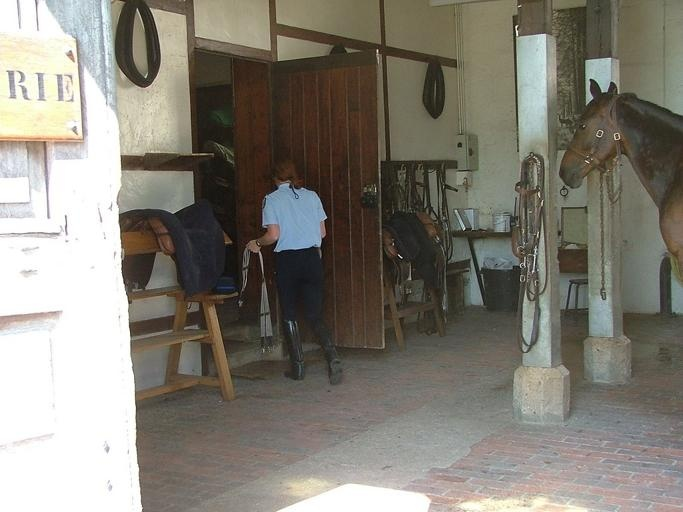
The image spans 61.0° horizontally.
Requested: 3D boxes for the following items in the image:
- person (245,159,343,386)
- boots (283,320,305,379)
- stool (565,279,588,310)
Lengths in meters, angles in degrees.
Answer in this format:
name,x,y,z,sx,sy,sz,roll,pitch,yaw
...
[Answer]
name,x,y,z,sx,sy,sz,roll,pitch,yaw
person,-0.477,0.173,6.036,0.728,2.346,0.412,-6,5,-4
boots,-0.517,0.986,6.165,0.145,0.626,0.271,1,-4,-43
stool,3.694,0.600,9.088,0.295,0.560,0.782,-4,5,23
